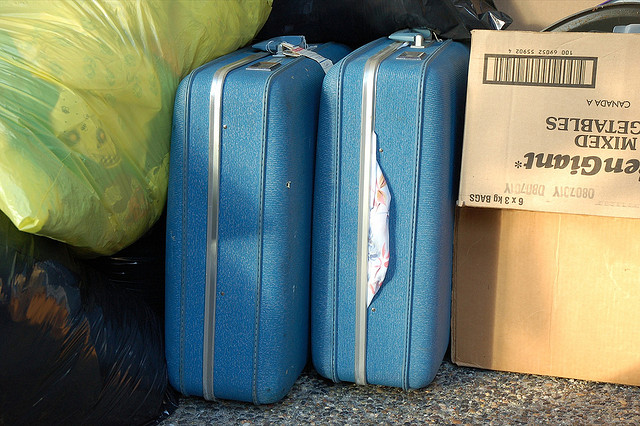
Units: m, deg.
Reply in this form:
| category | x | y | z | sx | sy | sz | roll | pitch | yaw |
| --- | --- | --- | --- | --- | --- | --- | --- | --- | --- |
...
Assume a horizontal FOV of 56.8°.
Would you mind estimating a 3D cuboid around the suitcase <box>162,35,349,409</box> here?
| category | x | y | z | sx | sy | sz | roll | pitch | yaw |
| --- | --- | --- | --- | --- | --- | --- | --- | --- | --- |
| suitcase | -0.199 | 0.018 | 1.502 | 0.359 | 0.843 | 0.337 | 3 | 14 | 10 |
